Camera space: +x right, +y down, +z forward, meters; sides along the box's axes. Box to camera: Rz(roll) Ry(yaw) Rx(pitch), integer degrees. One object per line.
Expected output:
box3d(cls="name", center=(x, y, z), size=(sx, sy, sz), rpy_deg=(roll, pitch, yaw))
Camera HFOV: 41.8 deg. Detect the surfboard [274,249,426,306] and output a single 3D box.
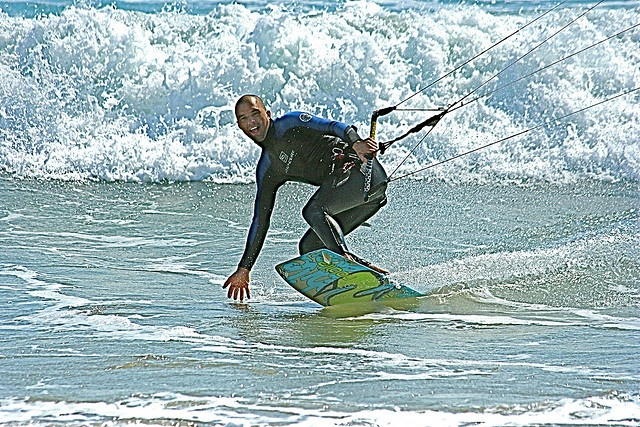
box3d(cls="surfboard", center=(0.337, 0.921, 11.961), size=(2.175, 0.294, 0.540), rpy_deg=(22, 95, -30))
